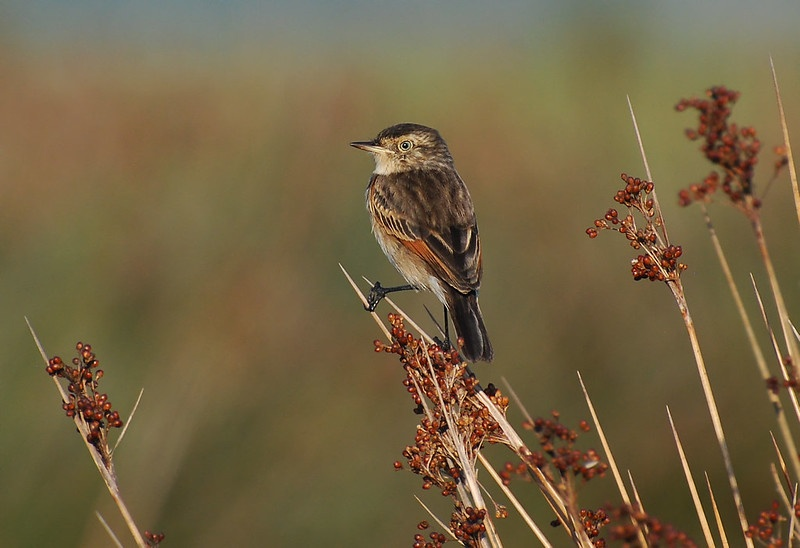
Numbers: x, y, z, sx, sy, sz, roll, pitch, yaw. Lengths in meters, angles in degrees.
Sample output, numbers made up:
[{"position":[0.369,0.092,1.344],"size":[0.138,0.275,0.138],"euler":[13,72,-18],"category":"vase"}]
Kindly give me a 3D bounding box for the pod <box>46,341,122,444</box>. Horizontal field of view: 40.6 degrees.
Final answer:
[{"position":[-2.403,0.921,8.328],"size":[0.527,0.836,0.305],"euler":[-13,-8,12],"category":"pod"}]
